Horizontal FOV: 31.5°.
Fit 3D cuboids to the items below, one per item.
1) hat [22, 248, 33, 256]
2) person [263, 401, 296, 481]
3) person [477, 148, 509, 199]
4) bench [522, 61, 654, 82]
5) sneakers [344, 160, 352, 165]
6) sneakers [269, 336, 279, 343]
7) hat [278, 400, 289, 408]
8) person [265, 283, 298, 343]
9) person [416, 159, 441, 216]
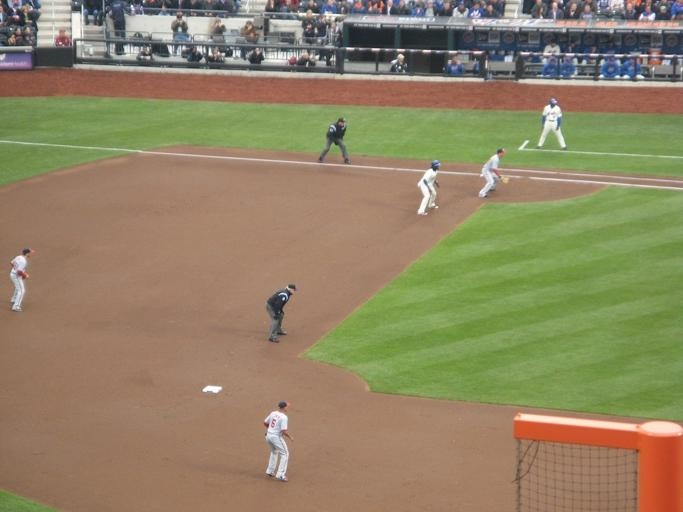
[{"bbox_3d":[-9.246,-0.141,35.638,0.267,0.160,0.129,12,41,14],"label":"hat"},{"bbox_3d":[-1.563,4.301,29.641,0.644,1.982,1.383,4,12,-1],"label":"person"},{"bbox_3d":[5.363,-2.854,42.904,0.976,1.967,1.005,0,59,-1],"label":"person"},{"bbox_3d":[12.015,-9.053,59.029,5.771,1.252,0.426,6,12,10],"label":"bench"},{"bbox_3d":[0.223,-3.486,44.971,0.181,0.201,0.481,-1,6,0],"label":"sneakers"},{"bbox_3d":[-1.902,2.265,34.057,0.309,0.232,0.121,-4,39,-8],"label":"sneakers"},{"bbox_3d":[-1.411,3.498,29.096,0.210,0.151,0.311,7,35,10],"label":"hat"},{"bbox_3d":[-1.758,1.498,33.923,0.744,1.762,1.230,3,12,-5],"label":"person"},{"bbox_3d":[2.948,-2.269,41.193,0.790,1.919,0.940,11,55,12],"label":"person"}]
